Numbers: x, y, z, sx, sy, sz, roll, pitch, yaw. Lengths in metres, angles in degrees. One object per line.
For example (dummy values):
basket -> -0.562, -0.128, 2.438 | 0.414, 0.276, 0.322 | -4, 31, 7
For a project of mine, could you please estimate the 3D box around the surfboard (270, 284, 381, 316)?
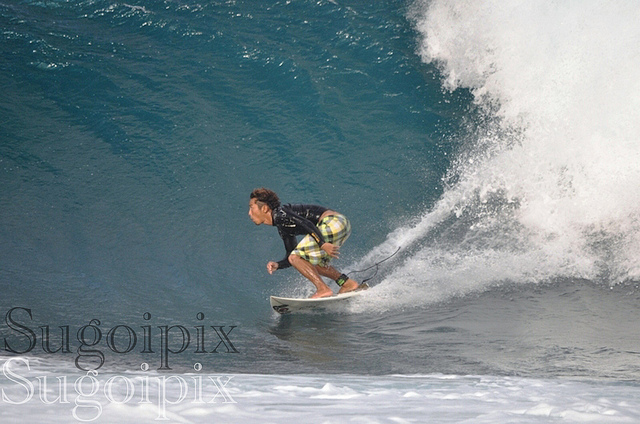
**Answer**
surfboard -> -0.603, 1.952, 21.380 | 3.931, 0.414, 0.440 | 0, 27, -21
